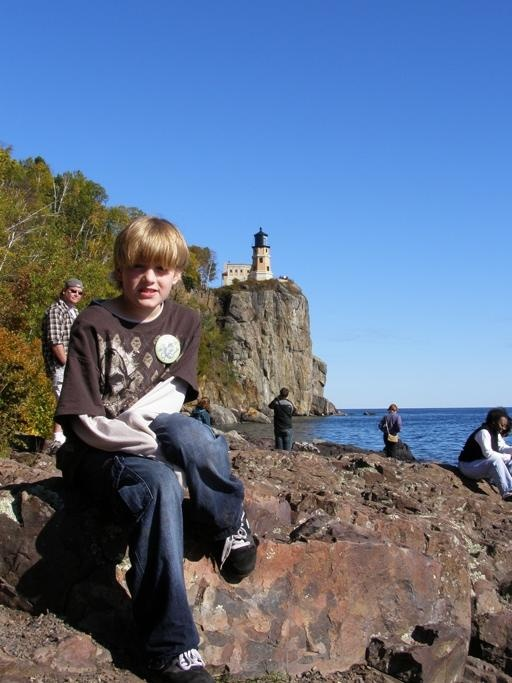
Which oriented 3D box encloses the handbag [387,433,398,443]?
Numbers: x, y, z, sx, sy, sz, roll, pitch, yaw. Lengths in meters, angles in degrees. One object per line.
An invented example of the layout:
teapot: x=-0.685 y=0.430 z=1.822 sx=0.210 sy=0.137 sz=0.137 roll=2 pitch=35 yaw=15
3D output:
handbag: x=3.766 y=2.685 z=14.160 sx=0.286 sy=0.295 sz=0.127 roll=1 pitch=-11 yaw=-1

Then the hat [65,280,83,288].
hat: x=-2.115 y=-0.687 z=5.917 sx=0.139 sy=0.105 sz=0.142 roll=4 pitch=-7 yaw=-2

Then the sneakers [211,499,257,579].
sneakers: x=-0.093 y=0.988 z=2.384 sx=0.160 sy=0.459 sz=0.187 roll=-7 pitch=6 yaw=-9

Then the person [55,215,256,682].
person: x=-0.419 y=0.499 z=2.224 sx=0.816 sy=1.330 sz=0.991 roll=5 pitch=-3 yaw=-30
